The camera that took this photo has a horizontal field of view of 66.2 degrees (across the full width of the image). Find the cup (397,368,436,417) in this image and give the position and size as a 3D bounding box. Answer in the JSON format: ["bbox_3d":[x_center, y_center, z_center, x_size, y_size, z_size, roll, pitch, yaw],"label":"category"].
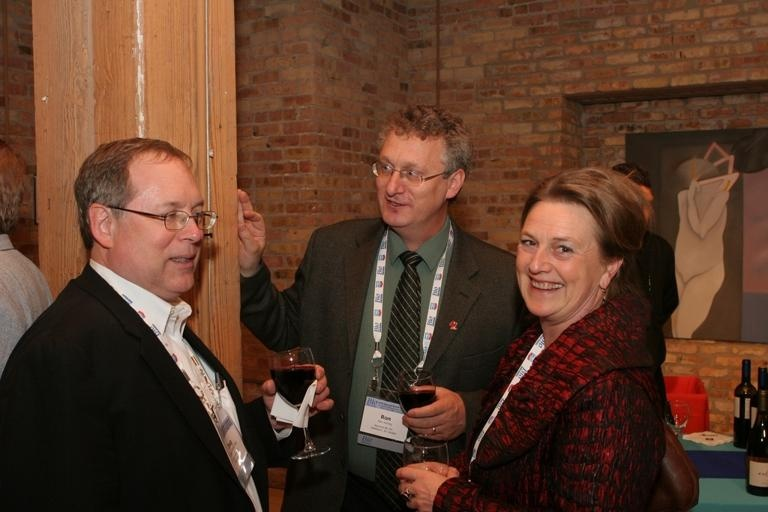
[{"bbox_3d":[0.113,0.486,2.075,0.150,0.176,0.155,-2,-11,0],"label":"cup"}]

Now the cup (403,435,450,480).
[{"bbox_3d":[0.141,0.663,1.930,0.124,0.115,0.119,1,-13,0],"label":"cup"}]
